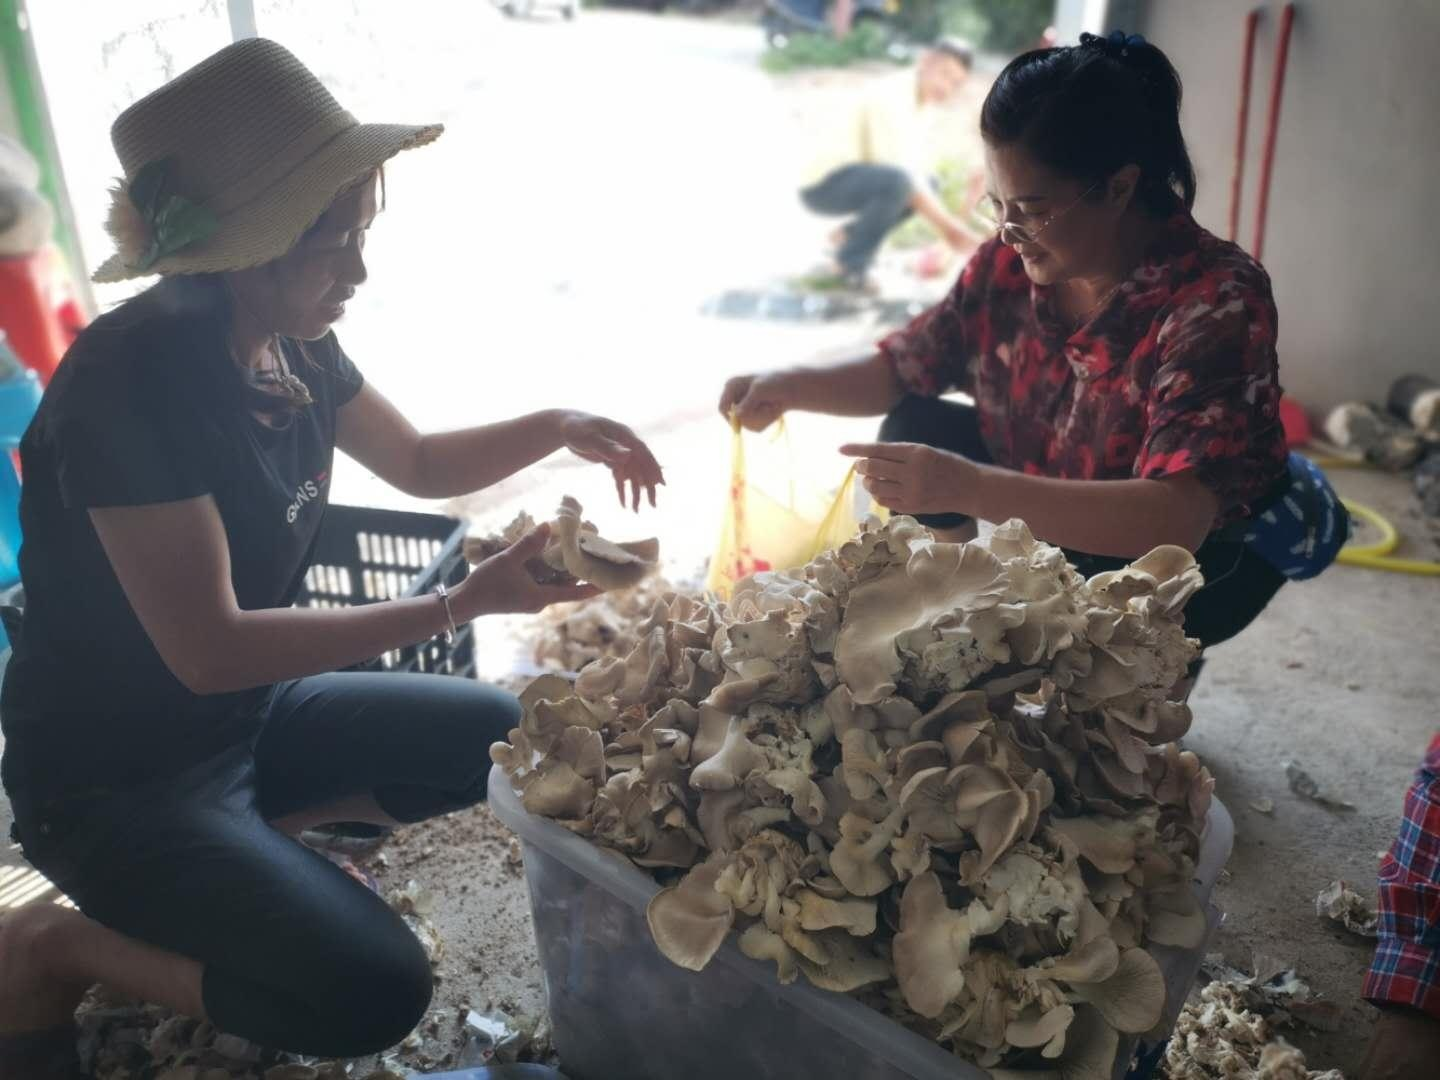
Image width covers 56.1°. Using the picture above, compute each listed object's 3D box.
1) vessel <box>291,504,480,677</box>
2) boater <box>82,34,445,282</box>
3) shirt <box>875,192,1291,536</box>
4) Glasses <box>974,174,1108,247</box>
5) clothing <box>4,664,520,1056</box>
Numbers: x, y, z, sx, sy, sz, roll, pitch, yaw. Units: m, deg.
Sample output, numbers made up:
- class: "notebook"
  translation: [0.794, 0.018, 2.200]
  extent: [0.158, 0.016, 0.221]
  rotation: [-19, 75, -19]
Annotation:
- class: "vessel"
  translation: [-0.936, 0.118, 3.643]
  extent: [0.486, 0.325, 0.506]
  rotation: [15, 31, 22]
- class: "boater"
  translation: [-0.895, -0.648, 2.653]
  extent: [0.480, 0.229, 0.473]
  rotation: [-28, 21, 24]
- class: "shirt"
  translation: [0.815, -0.363, 3.145]
  extent: [0.651, 0.671, 1.126]
  rotation: [-21, 31, -28]
- class: "Glasses"
  translation: [0.761, -0.723, 3.068]
  extent: [0.217, 0.068, 0.162]
  rotation: [-39, 41, -14]
- class: "clothing"
  translation: [-0.996, 0.864, 2.960]
  extent: [0.861, 0.305, 0.819]
  rotation: [28, 33, -8]
